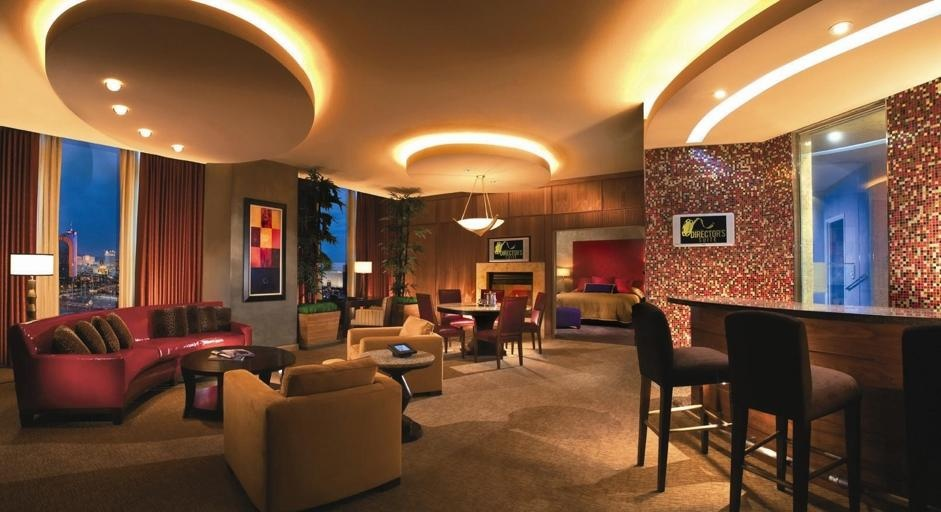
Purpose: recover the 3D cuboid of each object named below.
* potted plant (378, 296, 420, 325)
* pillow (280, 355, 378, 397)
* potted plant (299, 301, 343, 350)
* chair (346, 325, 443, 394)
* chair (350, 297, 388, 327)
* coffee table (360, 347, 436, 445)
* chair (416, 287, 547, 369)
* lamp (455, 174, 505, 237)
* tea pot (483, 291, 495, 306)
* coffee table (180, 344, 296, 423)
[{"bbox_3d":[-1.611,1.156,12.432,0.699,0.784,0.677,1,1,27],"label":"potted plant"},{"bbox_3d":[-1.602,1.372,6.754,0.594,0.345,0.563,2,-3,-24],"label":"pillow"},{"bbox_3d":[-2.886,1.360,11.528,0.411,0.840,0.950,-3,-4,35],"label":"potted plant"},{"bbox_3d":[-1.200,1.526,9.076,1.253,0.753,1.201,3,1,-18],"label":"chair"},{"bbox_3d":[-2.008,1.127,12.093,0.699,0.557,0.607,0,-3,11],"label":"chair"},{"bbox_3d":[-1.033,1.725,7.979,1.188,1.123,1.187,-1,2,-40],"label":"coffee table"},{"bbox_3d":[0.378,1.215,10.668,1.566,1.025,1.380,-1,4,-34],"label":"chair"},{"bbox_3d":[0.276,-0.933,12.075,1.139,1.269,1.036,0,1,-10],"label":"lamp"},{"bbox_3d":[0.374,0.790,11.122,0.216,0.240,0.252,1,-5,-21],"label":"tea pot"},{"bbox_3d":[-3.202,1.635,8.265,1.206,0.509,1.189,6,7,36],"label":"coffee table"}]
